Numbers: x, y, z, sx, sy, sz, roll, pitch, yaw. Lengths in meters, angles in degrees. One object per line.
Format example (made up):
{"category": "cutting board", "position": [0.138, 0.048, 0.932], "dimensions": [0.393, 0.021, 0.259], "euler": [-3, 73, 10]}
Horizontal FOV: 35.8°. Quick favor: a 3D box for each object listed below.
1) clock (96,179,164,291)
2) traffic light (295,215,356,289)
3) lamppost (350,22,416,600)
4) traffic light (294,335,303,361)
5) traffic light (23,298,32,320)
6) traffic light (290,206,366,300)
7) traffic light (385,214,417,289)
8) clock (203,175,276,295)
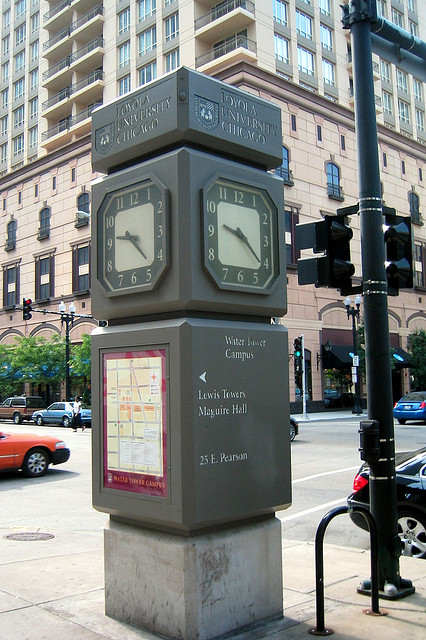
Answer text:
{"category": "clock", "position": [-0.546, -0.564, 4.444], "dimensions": [0.053, 0.713, 0.746], "euler": [5, -10, -37]}
{"category": "traffic light", "position": [0.970, -0.565, 5.690], "dimensions": [0.493, 0.588, 0.404], "euler": [-3, 0, 22]}
{"category": "lamppost", "position": [1.327, -0.286, 5.382], "dimensions": [0.310, 4.787, 0.735], "euler": [-3, -5, 12]}
{"category": "traffic light", "position": [3.901, 1.358, 30.421], "dimensions": [0.313, 0.998, 0.674], "euler": [-3, -5, 8]}
{"category": "traffic light", "position": [-8.339, -0.538, 29.457], "dimensions": [0.269, 0.910, 1.862], "euler": [-1, -5, -15]}
{"category": "traffic light", "position": [0.995, -0.568, 5.705], "dimensions": [0.578, 0.668, 0.420], "euler": [-3, -1, 31]}
{"category": "traffic light", "position": [1.690, -0.625, 5.969], "dimensions": [0.221, 0.742, 0.536], "euler": [-4, -5, 21]}
{"category": "clock", "position": [0.155, -0.557, 4.425], "dimensions": [0.061, 0.889, 0.805], "euler": [-9, -11, 38]}
